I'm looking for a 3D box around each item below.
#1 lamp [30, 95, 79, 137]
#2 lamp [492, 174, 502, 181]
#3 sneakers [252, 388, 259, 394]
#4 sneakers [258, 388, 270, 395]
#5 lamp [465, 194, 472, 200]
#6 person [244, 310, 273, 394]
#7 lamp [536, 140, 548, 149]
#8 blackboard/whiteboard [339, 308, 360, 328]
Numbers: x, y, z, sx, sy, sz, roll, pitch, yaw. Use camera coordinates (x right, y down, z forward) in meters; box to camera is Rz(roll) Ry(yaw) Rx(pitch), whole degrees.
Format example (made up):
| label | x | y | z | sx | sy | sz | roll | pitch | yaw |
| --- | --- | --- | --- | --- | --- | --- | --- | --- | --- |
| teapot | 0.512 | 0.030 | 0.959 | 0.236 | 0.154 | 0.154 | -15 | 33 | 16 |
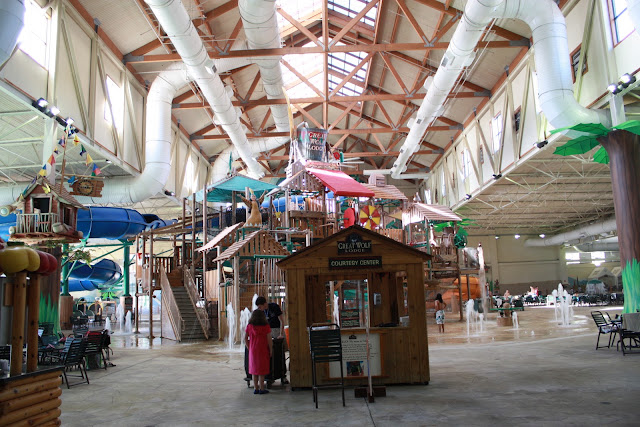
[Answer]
| label | x | y | z | sx | sy | sz | roll | pitch | yaw |
| --- | --- | --- | --- | --- | --- | --- | --- | --- | --- |
| lamp | -9.534 | -3.551 | 16.827 | 0.498 | 0.511 | 2.168 | -27 | -27 | 4 |
| lamp | 9.243 | -1.943 | 24.334 | 0.275 | 0.321 | 0.661 | -3 | -13 | -1 |
| sneakers | -1.317 | 3.644 | 9.599 | 0.074 | 0.086 | 0.206 | 1 | -24 | -3 |
| sneakers | -1.140 | 3.642 | 9.562 | 0.232 | 0.091 | 0.083 | 0 | -8 | -8 |
| lamp | 9.289 | -1.072 | 29.155 | 0.234 | 0.375 | 0.903 | -5 | -13 | 6 |
| person | -1.281 | 2.841 | 9.683 | 0.537 | 1.689 | 0.425 | -1 | -13 | -10 |
| lamp | 9.265 | -2.893 | 19.486 | 0.275 | 0.250 | 0.589 | -1 | -13 | -8 |
| blackboard/whiteboard | 1.161 | 4.058 | 18.394 | 0.789 | 0.706 | 1.538 | -4 | -13 | 3 |
